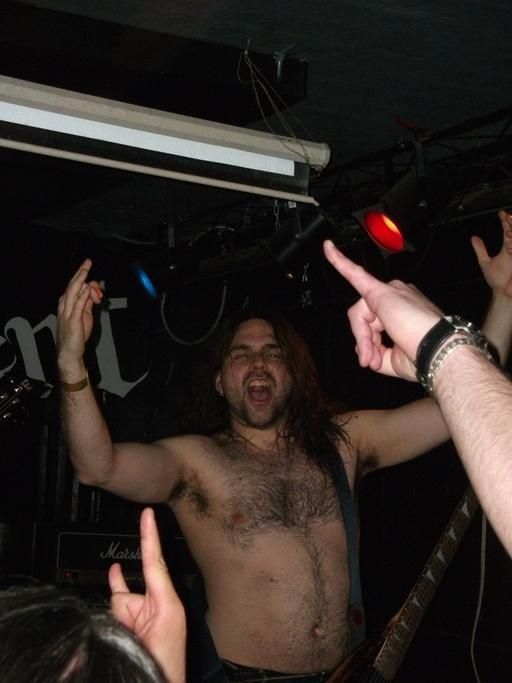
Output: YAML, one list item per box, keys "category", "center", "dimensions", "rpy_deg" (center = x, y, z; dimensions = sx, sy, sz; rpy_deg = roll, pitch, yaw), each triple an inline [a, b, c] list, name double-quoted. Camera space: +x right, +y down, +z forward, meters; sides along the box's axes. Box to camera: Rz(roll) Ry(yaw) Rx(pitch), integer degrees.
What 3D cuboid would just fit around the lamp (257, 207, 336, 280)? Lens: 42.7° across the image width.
- category: "lamp"
  center: [0.271, -0.455, 3.066]
  dimensions: [0.289, 0.311, 0.241]
  rpy_deg: [16, -23, -31]
